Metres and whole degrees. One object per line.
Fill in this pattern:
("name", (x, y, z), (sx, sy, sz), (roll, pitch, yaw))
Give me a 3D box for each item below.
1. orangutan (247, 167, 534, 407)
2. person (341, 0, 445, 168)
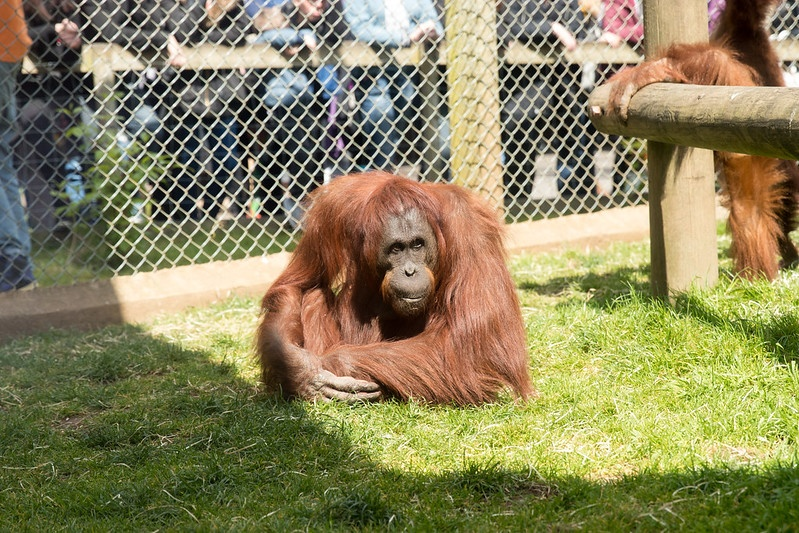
("orangutan", (0.006, 0.183, 4.399), (1.096, 0.856, 1.157), (1, 0, 8))
("person", (-0.018, -1.293, 6.784), (0.679, 1.259, 1.787), (-3, 9, 0))
